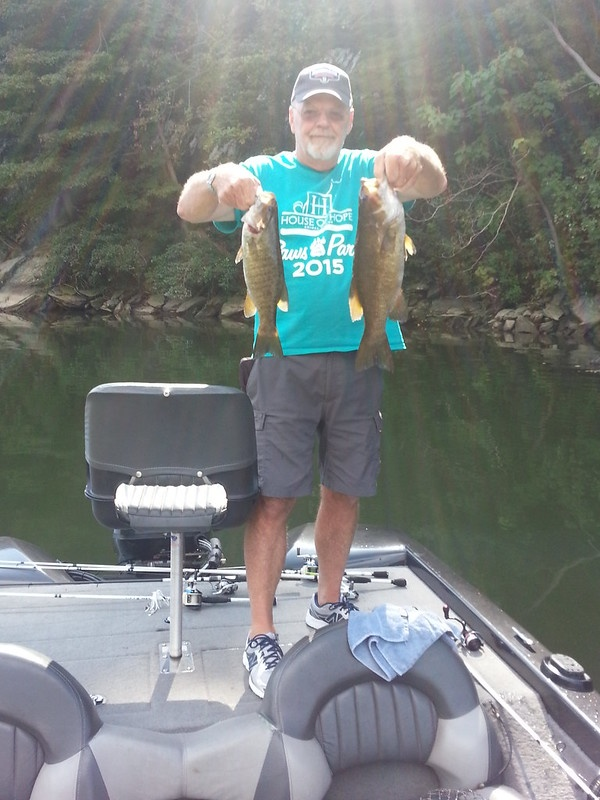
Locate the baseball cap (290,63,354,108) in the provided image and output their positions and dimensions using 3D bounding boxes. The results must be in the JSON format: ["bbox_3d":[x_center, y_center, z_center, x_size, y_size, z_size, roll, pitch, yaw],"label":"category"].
[{"bbox_3d":[0.060,-0.930,2.228,0.182,0.139,0.213,1,38,1],"label":"baseball cap"}]

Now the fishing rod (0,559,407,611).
[{"bbox_3d":[-0.372,0.694,2.810,1.226,0.153,0.269,-2,18,1],"label":"fishing rod"}]

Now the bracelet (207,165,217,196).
[{"bbox_3d":[-0.249,-0.603,2.076,0.016,0.061,0.063,12,-7,-10],"label":"bracelet"}]

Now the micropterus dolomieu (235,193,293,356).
[{"bbox_3d":[-0.113,-0.380,2.205,0.145,0.510,0.237,-4,37,-4],"label":"micropterus dolomieu"}]

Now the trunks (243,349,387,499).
[{"bbox_3d":[0.060,0.020,2.429,0.438,0.570,0.310,1,15,0],"label":"trunks"}]

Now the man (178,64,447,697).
[{"bbox_3d":[0.024,-0.077,2.288,0.883,1.902,0.688,-2,4,-10],"label":"man"}]

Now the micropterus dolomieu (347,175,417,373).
[{"bbox_3d":[0.226,-0.351,2.141,0.167,0.537,0.166,3,37,4],"label":"micropterus dolomieu"}]
